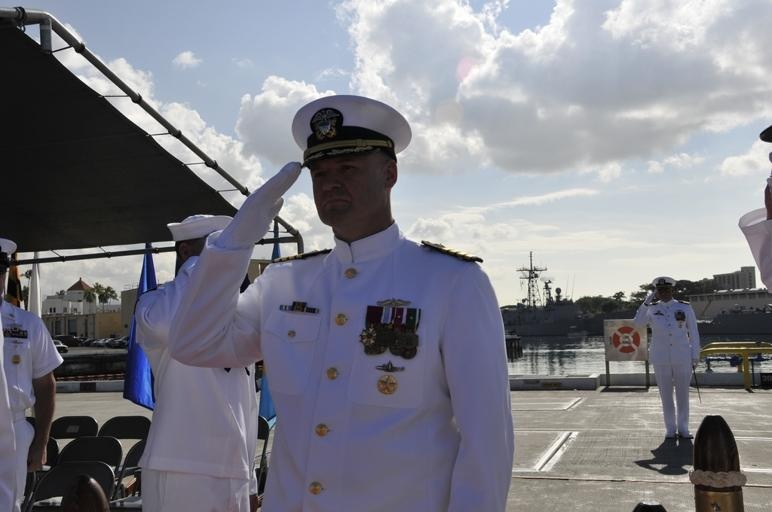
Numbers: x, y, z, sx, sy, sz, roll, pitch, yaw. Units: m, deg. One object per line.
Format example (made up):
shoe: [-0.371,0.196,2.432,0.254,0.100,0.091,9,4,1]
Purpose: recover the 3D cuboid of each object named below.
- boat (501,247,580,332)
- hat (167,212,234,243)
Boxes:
boat: [19.384,4.961,92.022,10.109,6.674,3.287,5,11,-22]
hat: [-1.632,-0.289,6.715,0.415,0.164,0.449,-12,3,40]
